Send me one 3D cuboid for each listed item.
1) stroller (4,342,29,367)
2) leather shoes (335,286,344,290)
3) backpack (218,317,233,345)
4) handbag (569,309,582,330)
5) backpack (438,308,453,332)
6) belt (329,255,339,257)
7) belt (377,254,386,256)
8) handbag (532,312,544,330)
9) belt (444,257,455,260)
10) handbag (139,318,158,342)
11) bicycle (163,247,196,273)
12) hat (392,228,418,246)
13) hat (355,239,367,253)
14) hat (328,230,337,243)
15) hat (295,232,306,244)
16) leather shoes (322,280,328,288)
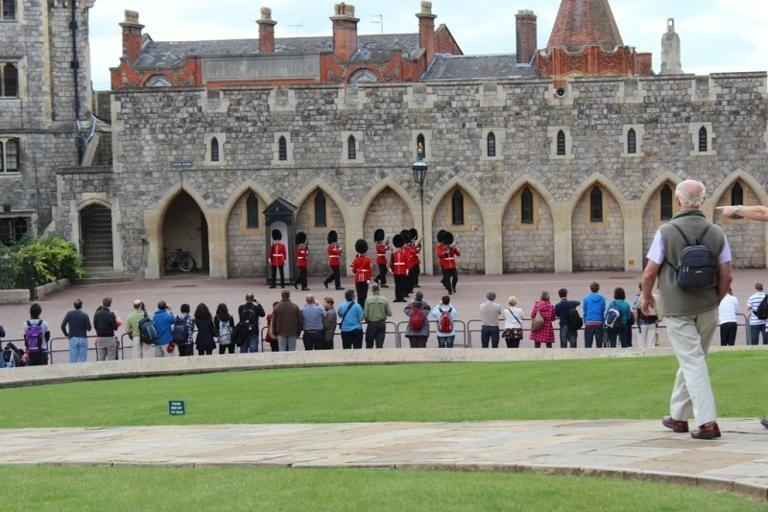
[{"bbox_3d":[-12.230,3.257,62.521,0.947,0.824,0.709,2,2,14],"label":"stroller"},{"bbox_3d":[-1.670,1.220,72.660,0.343,0.194,0.105,-3,17,-9],"label":"leather shoes"},{"bbox_3d":[-5.242,2.527,62.861,0.486,0.803,0.166,-1,-2,-29],"label":"backpack"},{"bbox_3d":[6.457,2.096,62.664,0.395,0.699,0.659,-3,-2,32],"label":"handbag"},{"bbox_3d":[2.045,2.150,62.718,0.483,0.753,0.201,-1,-2,-3],"label":"backpack"},{"bbox_3d":[-1.907,-0.013,71.865,0.269,0.110,0.470,-1,-2,-8],"label":"belt"},{"bbox_3d":[-0.126,-0.054,72.681,0.173,0.059,0.132,-3,-7,37],"label":"belt"},{"bbox_3d":[5.105,2.138,62.386,0.382,0.595,0.210,-2,-2,3],"label":"handbag"},{"bbox_3d":[2.523,0.053,71.082,0.166,0.145,0.408,-3,-2,43],"label":"belt"},{"bbox_3d":[-7.778,2.445,62.292,0.534,0.823,0.316,-1,-2,-8],"label":"handbag"},{"bbox_3d":[-8.780,0.198,81.115,1.597,0.816,0.716,-1,2,1],"label":"bicycle"},{"bbox_3d":[0.914,-0.712,72.612,0.679,0.319,0.880,1,-12,4],"label":"hat"},{"bbox_3d":[-0.827,-0.304,69.915,0.496,0.368,0.496,0,-35,-1],"label":"hat"},{"bbox_3d":[-1.969,-0.808,72.412,0.226,0.625,0.247,6,-14,2],"label":"hat"},{"bbox_3d":[-3.200,-0.683,73.104,0.333,0.396,0.425,31,2,8],"label":"hat"},{"bbox_3d":[-2.219,1.121,72.914,0.107,0.281,0.192,-15,29,31],"label":"leather shoes"}]
